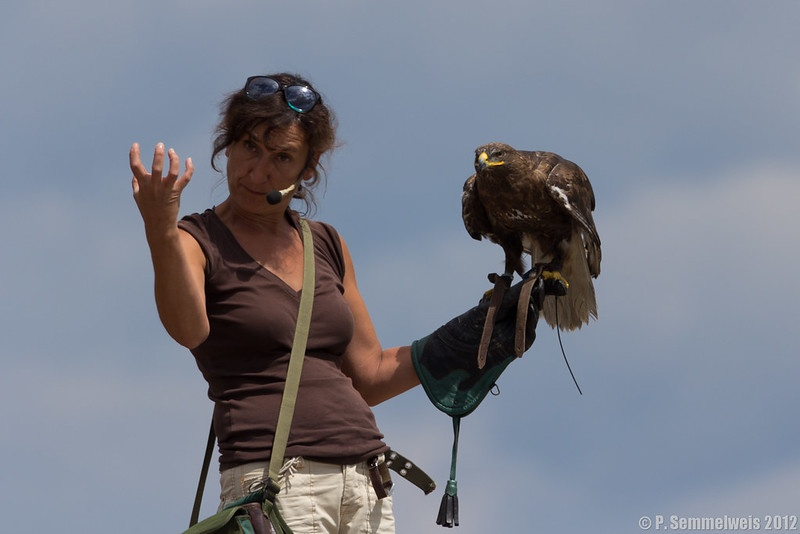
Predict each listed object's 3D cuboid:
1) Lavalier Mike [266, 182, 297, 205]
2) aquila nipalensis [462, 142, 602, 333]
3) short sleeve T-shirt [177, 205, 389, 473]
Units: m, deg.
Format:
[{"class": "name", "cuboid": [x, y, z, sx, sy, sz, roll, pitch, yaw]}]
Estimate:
[{"class": "Lavalier Mike", "cuboid": [-0.560, -0.332, 8.461, 0.195, 0.057, 0.055, -36, -30, -55]}, {"class": "aquila nipalensis", "cuboid": [0.751, -0.210, 9.977, 0.685, 0.941, 1.148, -1, 0, 29]}, {"class": "short sleeve T-shirt", "cuboid": [-0.595, 0.345, 8.445, 0.888, 1.261, 0.560, -1, -32, -17]}]
